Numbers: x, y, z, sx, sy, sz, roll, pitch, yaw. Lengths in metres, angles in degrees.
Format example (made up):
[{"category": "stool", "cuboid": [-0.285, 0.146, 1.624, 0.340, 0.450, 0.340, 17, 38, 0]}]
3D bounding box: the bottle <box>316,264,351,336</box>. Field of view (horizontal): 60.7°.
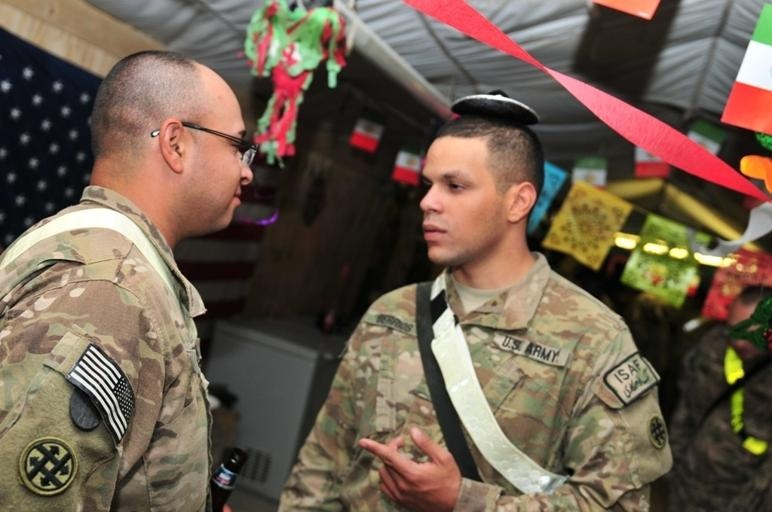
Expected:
[{"category": "bottle", "cuboid": [-0.465, 0.380, 6.303, 0.202, 0.758, 0.200, 21, -13, 5]}]
